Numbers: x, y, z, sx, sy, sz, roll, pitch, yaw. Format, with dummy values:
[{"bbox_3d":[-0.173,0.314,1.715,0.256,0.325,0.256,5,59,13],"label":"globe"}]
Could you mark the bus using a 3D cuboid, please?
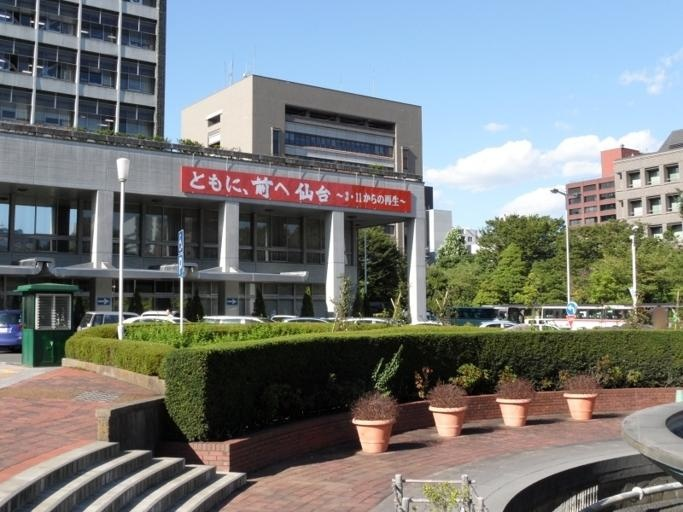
[{"bbox_3d":[14.188,4.153,54.404,10.473,2.352,2.579,-2,-12,35],"label":"bus"}]
